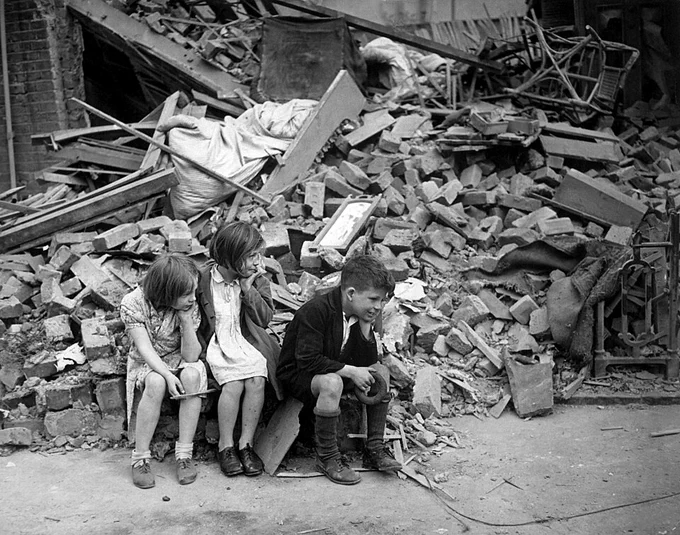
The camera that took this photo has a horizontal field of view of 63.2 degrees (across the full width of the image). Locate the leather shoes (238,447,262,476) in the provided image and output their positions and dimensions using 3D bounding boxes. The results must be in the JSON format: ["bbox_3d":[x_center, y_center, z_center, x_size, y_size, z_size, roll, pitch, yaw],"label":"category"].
[{"bbox_3d":[-0.510,1.113,3.157,0.081,0.077,0.192,-9,30,-20],"label":"leather shoes"}]

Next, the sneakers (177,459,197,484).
[{"bbox_3d":[-0.842,1.127,3.063,0.112,0.097,0.148,-1,11,-17],"label":"sneakers"}]

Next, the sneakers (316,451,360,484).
[{"bbox_3d":[-0.015,1.148,3.184,0.114,0.120,0.270,-14,25,-43],"label":"sneakers"}]

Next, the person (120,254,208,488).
[{"bbox_3d":[-0.987,0.544,3.158,0.461,1.189,0.604,-3,12,-22],"label":"person"}]

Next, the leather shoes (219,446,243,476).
[{"bbox_3d":[-0.619,1.103,3.160,0.111,0.129,0.154,-3,11,-24],"label":"leather shoes"}]

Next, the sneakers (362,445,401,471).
[{"bbox_3d":[0.245,1.125,3.281,0.243,0.126,0.107,-4,-2,41],"label":"sneakers"}]

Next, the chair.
[{"bbox_3d":[2.982,-2.415,7.011,1.217,1.162,2.075,8,12,29],"label":"chair"}]

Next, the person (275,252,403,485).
[{"bbox_3d":[-0.002,0.569,3.203,0.706,1.252,0.508,0,11,-8],"label":"person"}]

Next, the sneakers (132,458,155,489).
[{"bbox_3d":[-1.054,1.109,2.992,0.073,0.086,0.207,-3,6,-22],"label":"sneakers"}]
